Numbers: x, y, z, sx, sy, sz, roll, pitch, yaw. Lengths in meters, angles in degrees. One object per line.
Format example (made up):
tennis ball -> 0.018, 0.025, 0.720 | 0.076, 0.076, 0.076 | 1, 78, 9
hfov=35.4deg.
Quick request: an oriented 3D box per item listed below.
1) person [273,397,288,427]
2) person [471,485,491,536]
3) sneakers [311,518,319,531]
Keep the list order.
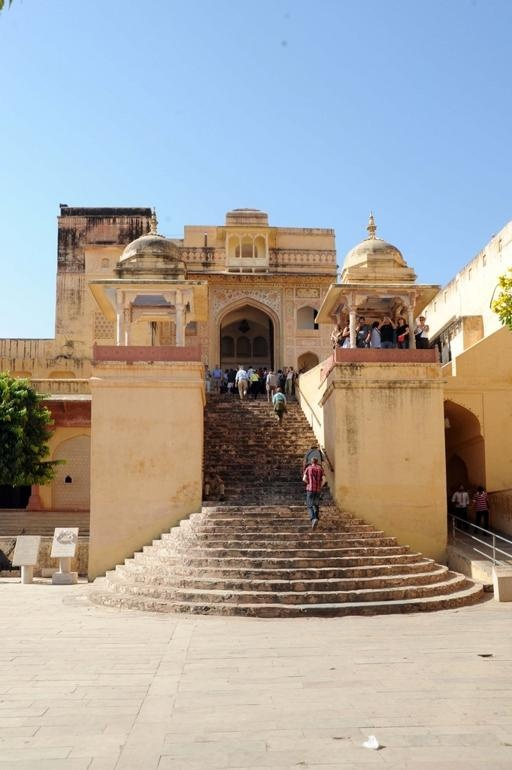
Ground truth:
person -> 0.537, 0.558, 18.318 | 0.233, 0.773, 0.506 | 1, 10, 0
person -> 4.624, 2.599, 16.444 | 0.302, 0.974, 1.409 | 4, 11, 16
sneakers -> 0.943, 2.225, 12.696 | 0.084, 0.199, 0.086 | 4, 21, -8
